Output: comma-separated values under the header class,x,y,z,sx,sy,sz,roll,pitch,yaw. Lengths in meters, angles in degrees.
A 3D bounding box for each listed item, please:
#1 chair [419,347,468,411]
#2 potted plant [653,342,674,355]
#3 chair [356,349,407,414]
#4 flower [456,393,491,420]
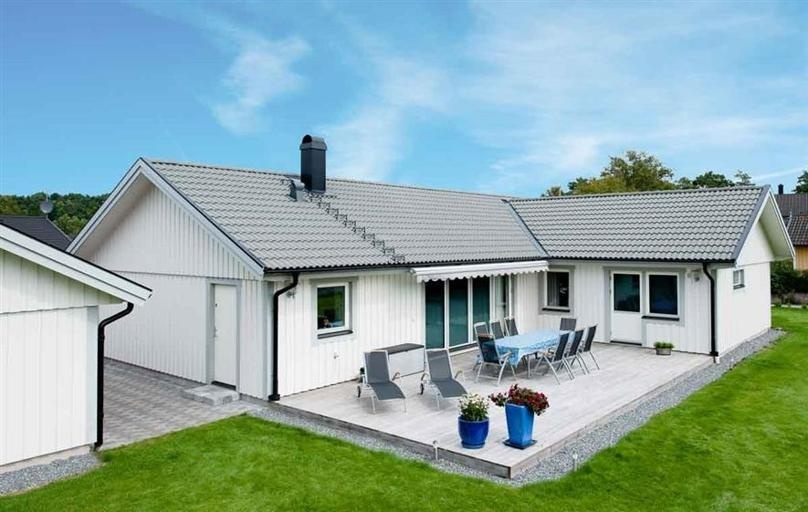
class,x,y,z,sx,sy,sz,roll,pitch,yaw
chair,1.678,5.507,33.102,1.719,2.031,2.778,-2,8,-15
potted plant,13.746,4.886,37.819,0.852,0.604,0.703,0,-1,1
chair,-1.039,5.644,32.679,1.761,2.759,2.636,1,-8,-24
flower,2.783,6.379,30.075,1.211,0.858,1.227,0,0,-27
